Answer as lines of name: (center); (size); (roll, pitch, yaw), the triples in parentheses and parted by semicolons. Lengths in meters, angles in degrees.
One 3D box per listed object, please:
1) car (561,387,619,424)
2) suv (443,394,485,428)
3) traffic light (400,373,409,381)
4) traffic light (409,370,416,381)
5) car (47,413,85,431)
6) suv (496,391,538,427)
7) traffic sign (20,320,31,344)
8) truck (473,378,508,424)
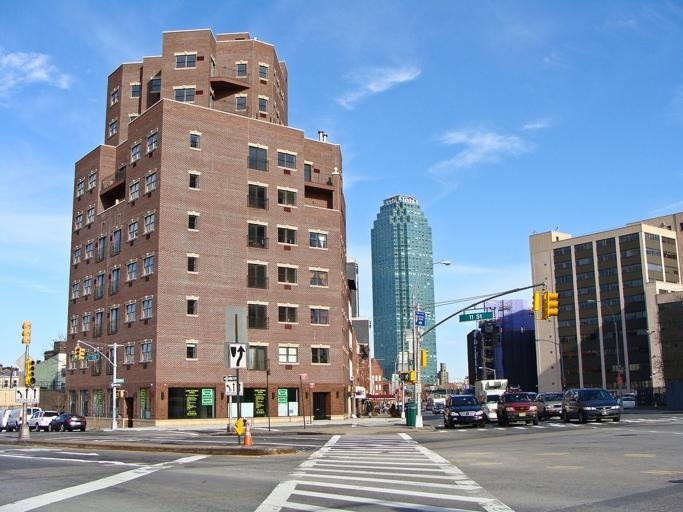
car: (15.651, 9.366, 47.110); (2.259, 2.228, 3.617); (-2, -17, -5)
suv: (7.768, 9.845, 47.707); (2.092, 2.160, 2.558); (0, -17, -10)
traffic light: (4.223, 8.095, 50.320); (0.656, 0.615, 0.157); (5, 4, 13)
traffic light: (4.510, 7.829, 48.614); (0.522, 0.997, 0.587); (-2, -5, 6)
car: (-20.733, 12.624, 56.521); (2.578, 1.370, 1.527); (0, -17, -10)
suv: (11.567, 9.992, 49.539); (2.262, 2.227, 4.325); (-3, -8, 4)
traffic sign: (-18.422, 4.459, 43.663); (0.420, 1.336, 0.549); (1, -17, -14)
truck: (11.646, 11.352, 58.399); (1.933, 2.216, 4.549); (0, -14, 0)
